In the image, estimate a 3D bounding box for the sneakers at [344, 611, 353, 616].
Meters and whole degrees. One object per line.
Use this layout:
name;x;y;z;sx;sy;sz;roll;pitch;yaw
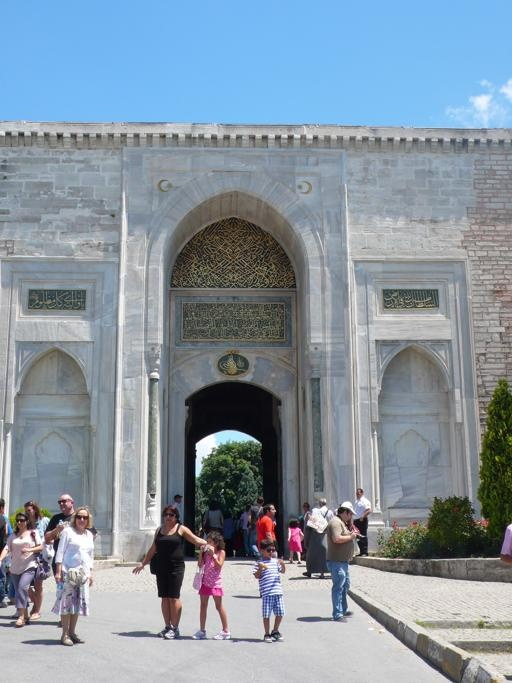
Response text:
sneakers;0.872;2.570;7.128;0.045;0.053;0.127;-5;-18;2

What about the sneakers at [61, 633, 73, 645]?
sneakers;-1.461;2.304;5.811;0.086;0.063;0.140;1;-10;-14

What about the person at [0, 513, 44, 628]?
person;-2.161;2.078;6.948;0.358;0.962;0.731;2;-11;-19

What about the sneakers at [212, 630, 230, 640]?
sneakers;-0.287;2.388;6.120;0.154;0.063;0.052;2;-8;-4

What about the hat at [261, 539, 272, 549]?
hat;0.092;1.718;6.412;0.069;0.077;0.084;3;0;-26

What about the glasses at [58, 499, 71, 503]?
glasses;-1.729;1.434;6.807;0.072;0.021;0.074;-13;-20;40

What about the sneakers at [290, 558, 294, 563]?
sneakers;0.614;3.758;12.944;0.056;0.097;0.151;2;-2;5

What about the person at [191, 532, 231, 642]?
person;-0.372;2.025;6.291;0.306;0.863;0.484;-1;-10;-2

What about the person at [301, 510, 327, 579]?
person;0.833;2.934;10.609;0.303;0.788;0.643;-2;-10;4

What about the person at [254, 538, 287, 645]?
person;0.111;2.080;6.352;0.243;0.776;0.633;-2;-10;1

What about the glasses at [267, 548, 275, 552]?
glasses;0.119;1.761;6.374;0.066;0.026;0.072;-1;-14;-7

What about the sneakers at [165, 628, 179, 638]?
sneakers;-0.680;2.356;6.088;0.051;0.055;0.134;-3;-16;17
